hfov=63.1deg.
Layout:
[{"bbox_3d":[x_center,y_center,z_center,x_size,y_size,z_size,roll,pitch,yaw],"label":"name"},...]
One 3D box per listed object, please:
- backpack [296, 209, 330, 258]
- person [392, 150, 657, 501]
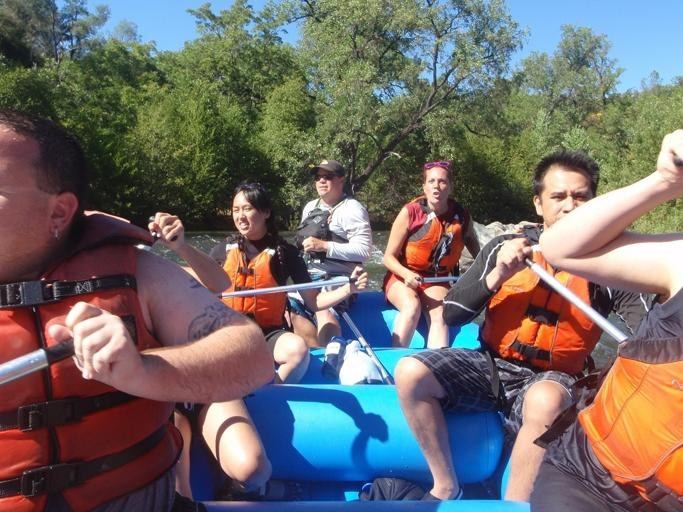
[{"bbox_3d":[-0.250,-0.179,4.760,0.311,0.446,0.243,-6,-8,41],"label":"backpack"},{"bbox_3d":[0.800,0.351,2.406,0.827,1.708,0.857,8,-15,32],"label":"person"}]
